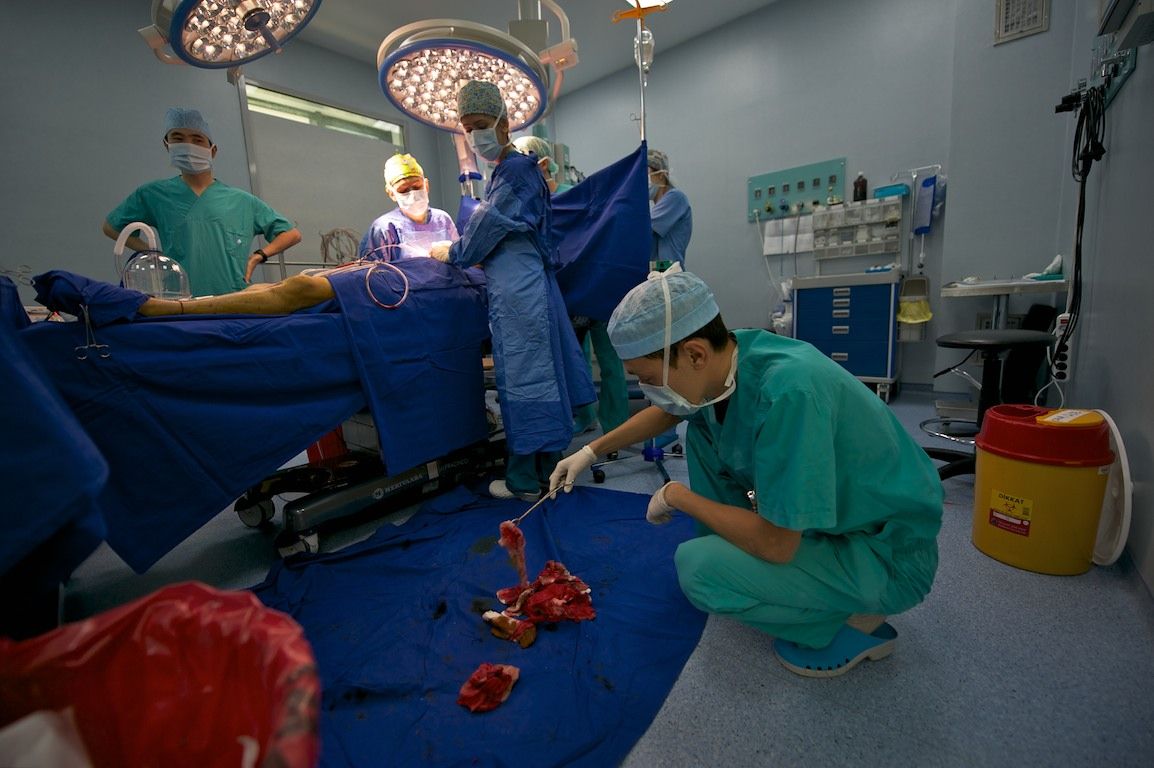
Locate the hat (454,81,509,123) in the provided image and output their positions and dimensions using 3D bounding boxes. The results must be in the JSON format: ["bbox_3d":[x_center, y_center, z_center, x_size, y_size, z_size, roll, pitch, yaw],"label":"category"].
[{"bbox_3d":[-0.501,-1.451,4.273,0.190,0.142,0.199,6,18,19],"label":"hat"}]

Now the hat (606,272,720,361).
[{"bbox_3d":[0.354,-0.313,3.495,0.468,0.339,0.331,-17,11,7],"label":"hat"}]

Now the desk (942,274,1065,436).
[{"bbox_3d":[2.444,-0.200,4.870,0.873,0.927,0.927,-1,1,12],"label":"desk"}]

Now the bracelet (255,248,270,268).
[{"bbox_3d":[-1.783,-0.695,4.614,0.094,0.050,0.074,31,25,4],"label":"bracelet"}]

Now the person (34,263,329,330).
[{"bbox_3d":[-1.876,-0.363,4.273,1.558,0.340,1.032,0,-2,-35],"label":"person"}]

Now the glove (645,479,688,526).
[{"bbox_3d":[0.379,0.529,3.627,0.176,0.074,0.148,-30,26,46],"label":"glove"}]

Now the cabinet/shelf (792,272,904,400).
[{"bbox_3d":[1.998,-0.252,6.227,0.728,0.909,0.567,0,-30,23],"label":"cabinet/shelf"}]

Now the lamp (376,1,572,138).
[{"bbox_3d":[-0.534,-1.769,4.288,0.848,0.447,0.720,-4,-24,3],"label":"lamp"}]

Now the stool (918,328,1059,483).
[{"bbox_3d":[2.380,0.128,4.772,0.656,0.880,0.659,-6,10,-36],"label":"stool"}]

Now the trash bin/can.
[{"bbox_3d":[2.226,0.431,3.960,0.628,0.782,0.659,-1,23,12],"label":"trash bin/can"}]

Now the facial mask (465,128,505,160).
[{"bbox_3d":[-0.494,-1.272,4.383,0.124,0.105,0.150,16,61,42],"label":"facial mask"}]

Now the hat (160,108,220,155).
[{"bbox_3d":[-2.142,-1.370,4.551,0.218,0.155,0.224,1,10,-14],"label":"hat"}]
